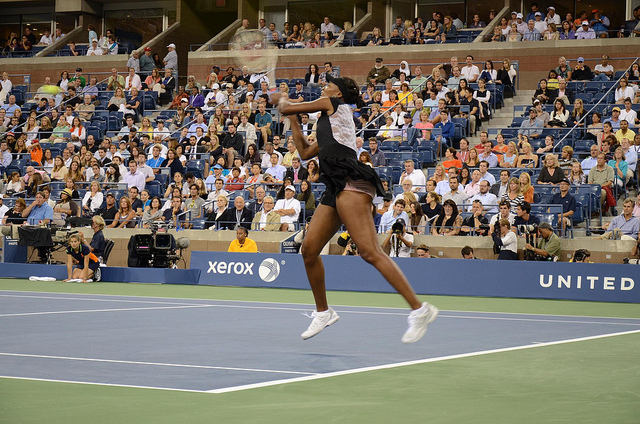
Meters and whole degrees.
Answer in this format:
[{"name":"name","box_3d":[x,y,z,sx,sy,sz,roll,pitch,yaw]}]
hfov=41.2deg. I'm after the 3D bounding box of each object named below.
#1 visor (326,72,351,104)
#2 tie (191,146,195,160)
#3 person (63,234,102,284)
[{"name":"visor","box_3d":[0.219,-1.443,9.987,0.316,0.348,0.234,0,1,-10]},{"name":"tie","box_3d":[-3.447,-1.558,22.985,0.098,0.394,0.108,3,-26,2]},{"name":"person","box_3d":[-5.156,1.049,18.402,0.615,1.119,0.861,3,9,22]}]
